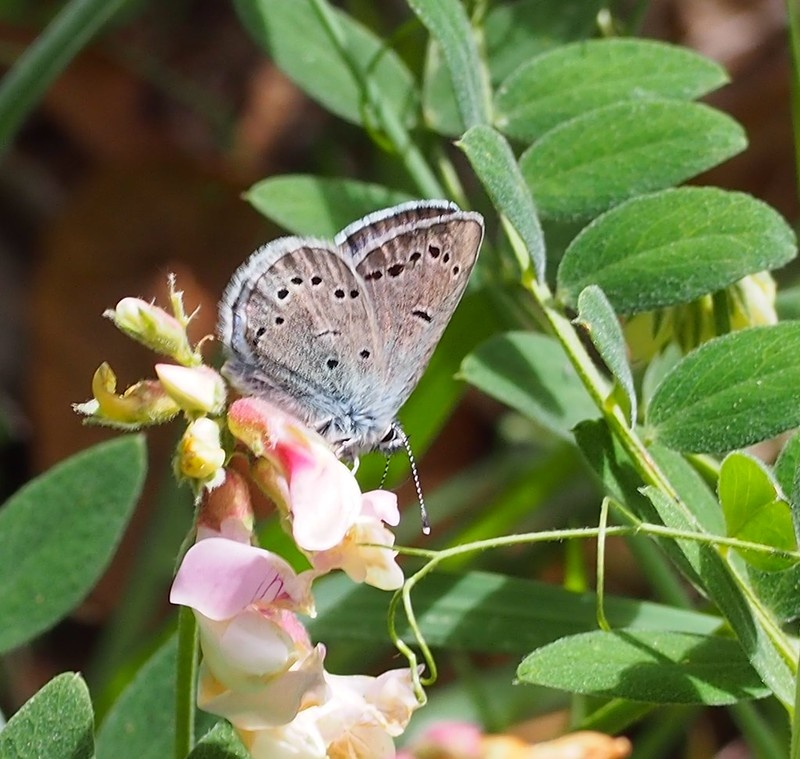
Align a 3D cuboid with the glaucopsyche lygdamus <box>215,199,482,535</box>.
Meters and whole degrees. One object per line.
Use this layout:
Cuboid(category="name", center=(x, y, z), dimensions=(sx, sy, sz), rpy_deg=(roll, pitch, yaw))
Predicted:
Cuboid(category="glaucopsyche lygdamus", center=(-0.039, -0.034, 0.925), dimensions=(0.229, 0.195, 0.264), rpy_deg=(30, -11, 3))
